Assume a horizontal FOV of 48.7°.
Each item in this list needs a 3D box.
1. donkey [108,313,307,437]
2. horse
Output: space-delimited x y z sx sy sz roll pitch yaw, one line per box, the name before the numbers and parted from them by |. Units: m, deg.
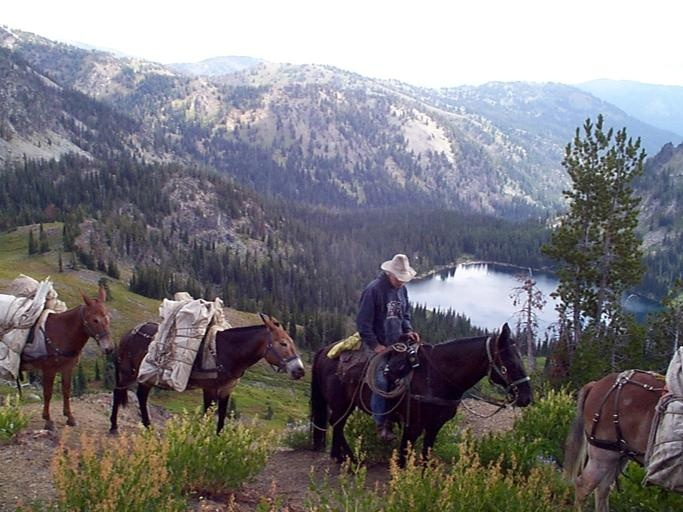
donkey | -5.825 5.204 31.368 8.125 5.891 2.321 6 5 11
horse | 2.784 5.437 29.591 8.420 6.689 2.330 7 -4 33
